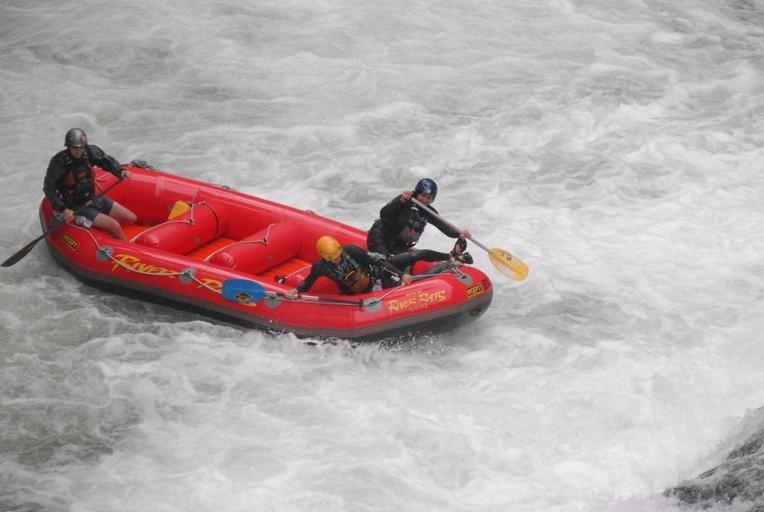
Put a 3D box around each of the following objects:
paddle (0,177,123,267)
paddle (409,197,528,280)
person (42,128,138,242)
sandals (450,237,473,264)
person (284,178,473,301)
[{"bbox_3d":[-4.547,-0.450,16.195,0.239,2.850,0.141,66,11,14],"label":"paddle"},{"bbox_3d":[1.278,-0.222,16.595,2.611,0.323,0.108,27,19,2],"label":"paddle"},{"bbox_3d":[-4.246,-0.961,16.304,1.635,1.660,0.966,27,58,1],"label":"person"},{"bbox_3d":[1.090,-0.079,15.687,0.206,0.183,0.525,-11,30,-10],"label":"sandals"},{"bbox_3d":[0.015,-0.184,15.578,2.867,1.024,1.499,0,32,9],"label":"person"}]
